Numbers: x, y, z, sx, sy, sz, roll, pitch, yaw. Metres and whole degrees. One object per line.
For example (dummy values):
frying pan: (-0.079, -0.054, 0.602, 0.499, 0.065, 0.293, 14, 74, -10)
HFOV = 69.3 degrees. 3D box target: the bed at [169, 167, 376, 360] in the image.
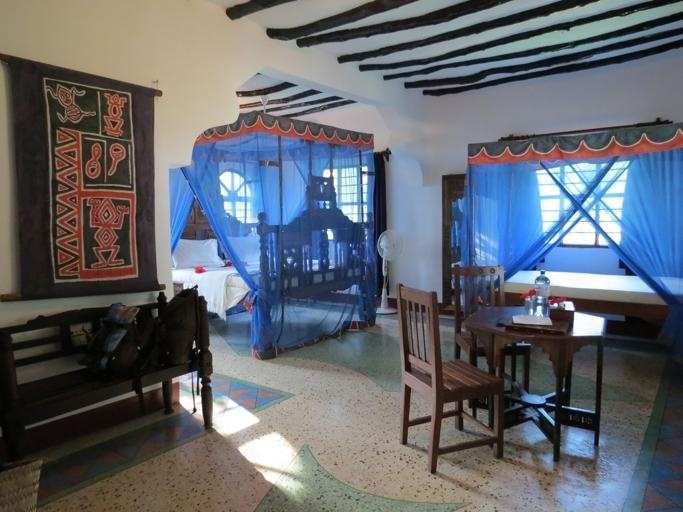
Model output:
bed: (-1.252, -0.370, 7.275, 3.057, 2.479, 2.409, 14, 13, 41)

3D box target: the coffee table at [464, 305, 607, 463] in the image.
coffee table: (1.643, 1.109, 4.169, 0.978, 0.863, 0.986, 6, -8, -37)

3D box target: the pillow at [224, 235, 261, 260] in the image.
pillow: (-1.127, -0.100, 5.800, 0.238, 0.238, 0.310, -1, 0, -2)

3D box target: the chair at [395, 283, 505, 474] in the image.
chair: (0.857, 0.912, 3.913, 0.722, 1.340, 0.743, -4, 6, -31)
